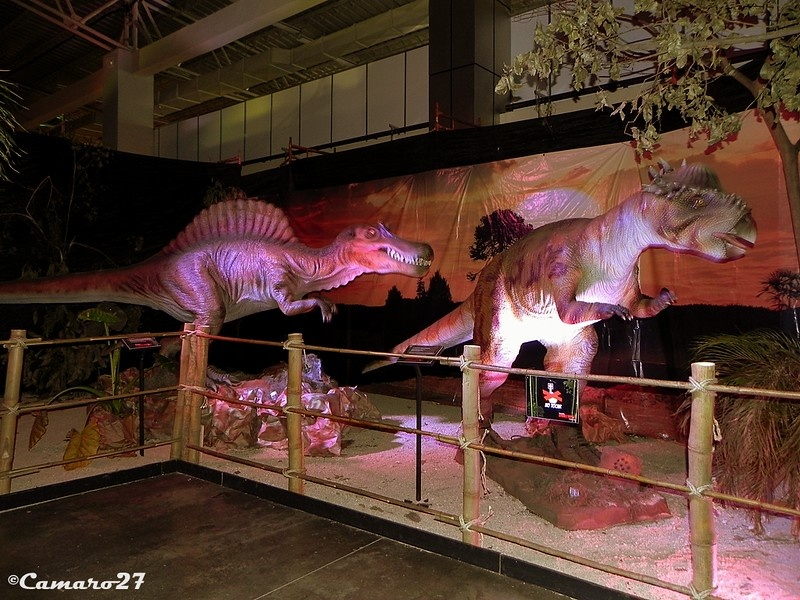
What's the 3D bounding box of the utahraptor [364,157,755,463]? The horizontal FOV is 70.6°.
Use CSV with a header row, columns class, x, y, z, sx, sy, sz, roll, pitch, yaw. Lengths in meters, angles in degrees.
class,x,y,z,sx,sy,sz,roll,pitch,yaw
utahraptor,1.278,0.185,5.835,4.451,2.162,1.069,-11,-13,42
